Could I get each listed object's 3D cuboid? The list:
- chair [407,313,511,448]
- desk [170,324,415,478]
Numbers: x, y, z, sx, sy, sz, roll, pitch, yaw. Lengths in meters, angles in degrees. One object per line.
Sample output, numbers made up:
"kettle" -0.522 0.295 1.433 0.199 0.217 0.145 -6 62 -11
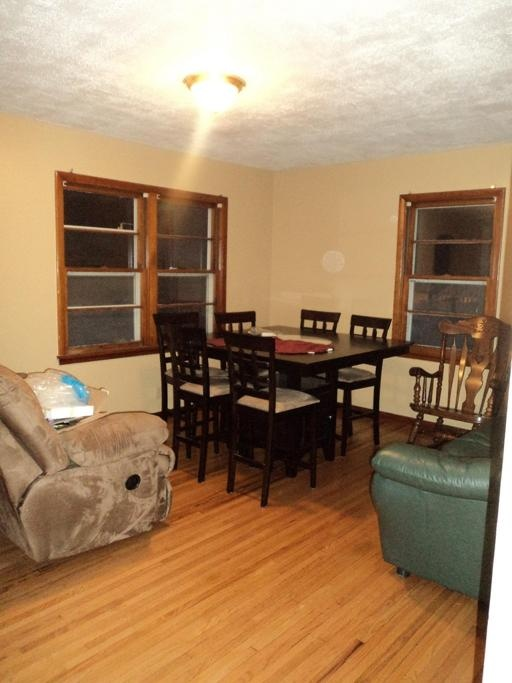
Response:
"chair" 1.367 0.275 3.871 0.518 0.951 1.370 5 9 21
"desk" 0.400 0.235 3.584 1.061 0.623 1.045 -13 18 -41
